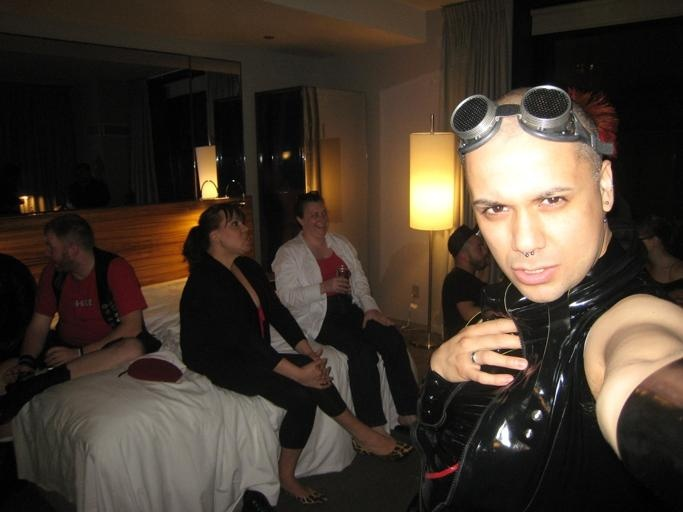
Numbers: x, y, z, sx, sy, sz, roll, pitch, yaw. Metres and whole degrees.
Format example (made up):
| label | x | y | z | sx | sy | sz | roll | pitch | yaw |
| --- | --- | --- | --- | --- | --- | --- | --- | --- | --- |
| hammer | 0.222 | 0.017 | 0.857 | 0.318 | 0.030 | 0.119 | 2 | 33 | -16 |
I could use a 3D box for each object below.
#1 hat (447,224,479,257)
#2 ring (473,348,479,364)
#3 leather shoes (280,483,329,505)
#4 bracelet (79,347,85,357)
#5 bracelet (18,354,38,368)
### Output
| label | x | y | z | sx | sy | sz | roll | pitch | yaw |
| --- | --- | --- | --- | --- | --- | --- | --- | --- | --- |
| hat | 0.765 | -0.096 | 3.206 | 0.162 | 0.153 | 0.200 | 7 | -1 | 39 |
| ring | 0.233 | 0.180 | 0.908 | 0.013 | 0.017 | 0.018 | 0 | 0 | 10 |
| leather shoes | -0.200 | 1.119 | 2.448 | 0.233 | 0.099 | 0.082 | -3 | 14 | 24 |
| bracelet | -1.258 | 0.457 | 2.451 | 0.016 | 0.023 | 0.056 | 3 | 51 | -16 |
| bracelet | -1.495 | 0.487 | 2.421 | 0.094 | 0.037 | 0.059 | 11 | 6 | 43 |
